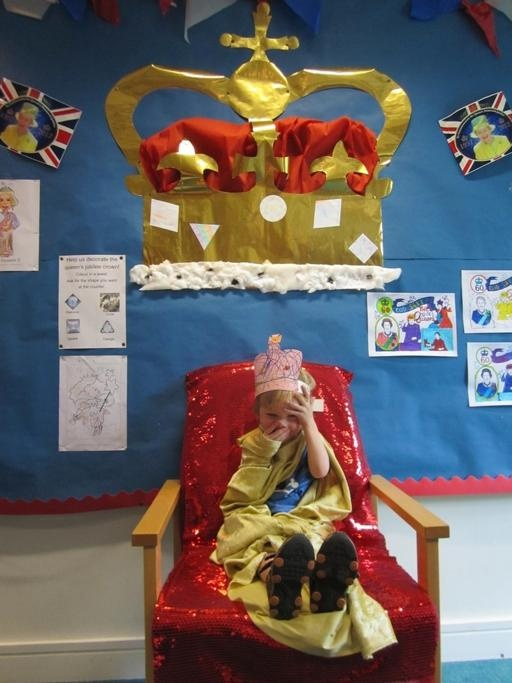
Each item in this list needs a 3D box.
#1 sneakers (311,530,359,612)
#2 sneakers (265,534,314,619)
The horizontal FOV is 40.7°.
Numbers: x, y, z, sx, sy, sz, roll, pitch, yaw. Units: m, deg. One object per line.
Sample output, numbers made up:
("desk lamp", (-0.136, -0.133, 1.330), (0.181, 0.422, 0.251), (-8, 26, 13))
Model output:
("sneakers", (0.182, 0.529, 1.635), (0.082, 0.190, 0.087), (10, -9, 5))
("sneakers", (0.077, 0.542, 1.621), (0.092, 0.179, 0.094), (18, -10, -9))
